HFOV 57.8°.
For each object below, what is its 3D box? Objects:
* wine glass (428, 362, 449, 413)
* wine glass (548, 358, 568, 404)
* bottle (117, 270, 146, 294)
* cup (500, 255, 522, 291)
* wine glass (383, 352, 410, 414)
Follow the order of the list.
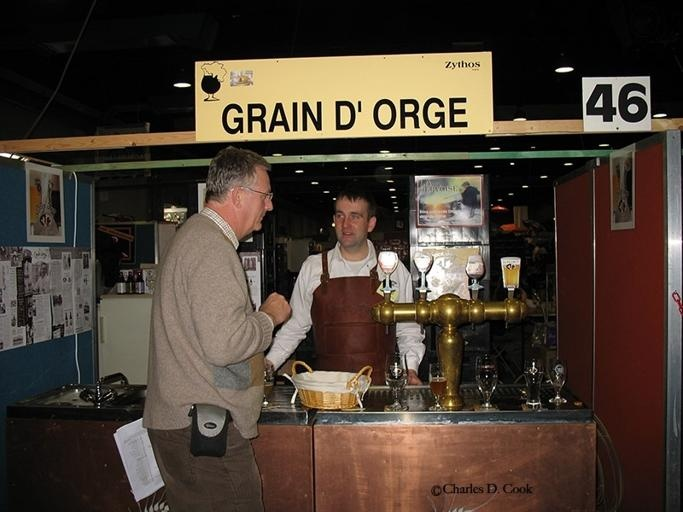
[{"bbox_3d":[0.534,0.722,3.424,0.088,0.241,0.254,1,-3,9],"label":"wine glass"},{"bbox_3d":[1.223,0.707,3.480,0.090,0.234,0.335,0,-3,19],"label":"wine glass"},{"bbox_3d":[-2.245,0.281,6.622,0.263,0.265,0.274,0,-1,-6],"label":"bottle"},{"bbox_3d":[0.960,0.098,3.583,0.159,0.272,0.151,2,-4,0],"label":"cup"},{"bbox_3d":[0.315,0.703,3.475,0.120,0.295,0.361,1,-3,6],"label":"wine glass"}]
